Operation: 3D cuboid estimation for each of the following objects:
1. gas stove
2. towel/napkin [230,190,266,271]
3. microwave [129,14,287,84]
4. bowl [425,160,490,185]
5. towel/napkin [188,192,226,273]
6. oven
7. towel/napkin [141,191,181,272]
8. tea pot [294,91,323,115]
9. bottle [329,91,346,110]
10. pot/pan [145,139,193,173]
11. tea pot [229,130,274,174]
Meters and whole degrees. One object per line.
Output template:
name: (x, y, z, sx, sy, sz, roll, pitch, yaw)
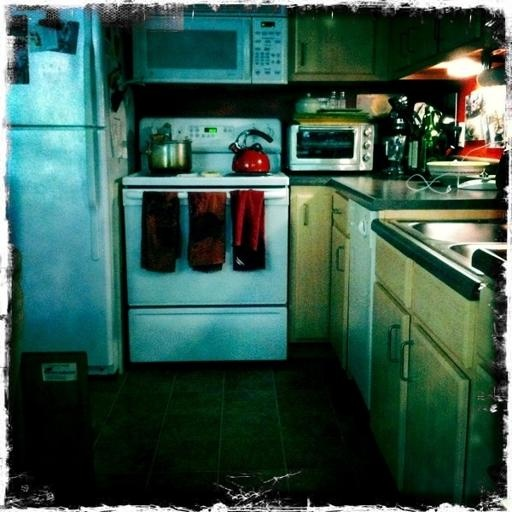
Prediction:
gas stove: (-0.242, -0.373, 2.611, 0.788, 0.068, 0.272, 0, 9, -5)
towel/napkin: (-0.037, -0.115, 2.463, 0.158, 0.377, 0.060, 0, 9, -3)
microwave: (-0.200, -1.080, 2.939, 0.723, 0.333, 0.409, 0, 9, 0)
bowl: (0.836, -0.346, 2.210, 0.242, 0.085, 0.175, 3, 10, 17)
towel/napkin: (-0.225, -0.121, 2.449, 0.170, 0.339, 0.036, 0, 9, -5)
oven: (-0.239, -0.141, 2.767, 0.956, 0.758, 0.530, -1, 10, -5)
towel/napkin: (-0.445, -0.112, 2.448, 0.170, 0.363, 0.054, -2, 9, -12)
tea pot: (0.299, -0.887, 3.022, 0.160, 0.135, 0.156, 0, 20, 0)
bottle: (0.481, -0.928, 3.146, 0.099, 0.102, 0.068, 1, 9, 7)
pot/pan: (-0.435, -0.499, 2.668, 0.186, 0.131, 0.181, 2, 12, 10)
tea pot: (-0.045, -0.549, 2.813, 0.304, 0.249, 0.211, 1, 3, -13)
